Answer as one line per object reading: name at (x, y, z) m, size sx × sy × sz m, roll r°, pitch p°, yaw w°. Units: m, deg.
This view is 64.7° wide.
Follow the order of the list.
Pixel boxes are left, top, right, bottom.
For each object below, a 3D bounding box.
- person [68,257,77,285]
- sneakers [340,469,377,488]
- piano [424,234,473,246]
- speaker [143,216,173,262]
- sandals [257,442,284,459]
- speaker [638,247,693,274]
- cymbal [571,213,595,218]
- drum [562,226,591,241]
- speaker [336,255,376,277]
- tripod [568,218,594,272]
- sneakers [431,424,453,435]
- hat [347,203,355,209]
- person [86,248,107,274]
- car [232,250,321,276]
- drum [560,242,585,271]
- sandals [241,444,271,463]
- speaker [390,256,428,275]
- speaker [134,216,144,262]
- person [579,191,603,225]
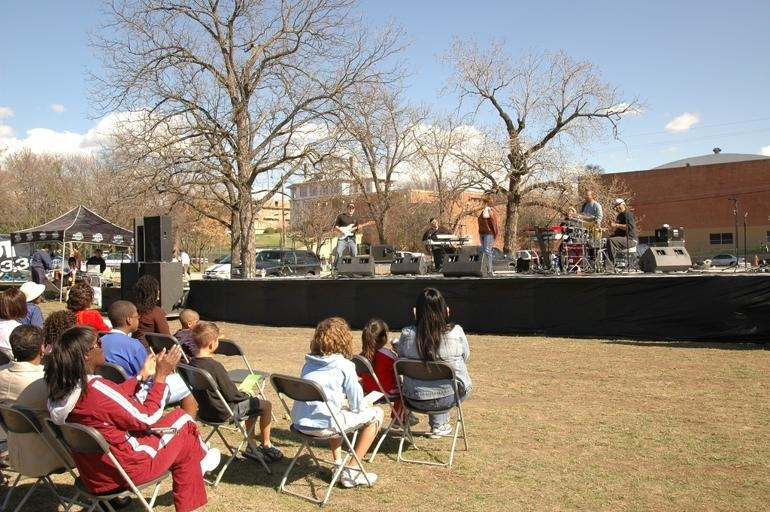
person at (-10.812, 0.471, 20.966) m, size 0.316 × 0.915 × 1.848 m, roll -5°, pitch 7°, yaw -27°
sneakers at (-0.290, 2.206, 6.146) m, size 0.386 × 0.170 × 0.155 m, roll 0°, pitch 0°, yaw -23°
piano at (1.635, -0.417, 15.812) m, size 0.783 × 0.337 × 1.728 m, roll -3°, pitch 6°, yaw -11°
speaker at (-5.649, -0.445, 14.951) m, size 0.695 × 1.103 × 0.422 m, roll -2°, pitch 8°, yaw -7°
sandals at (-1.240, 2.115, 6.648) m, size 0.299 × 0.138 × 0.118 m, roll 26°, pitch 6°, yaw -8°
speaker at (6.015, 0.069, 13.057) m, size 1.140 × 0.576 × 0.481 m, roll -5°, pitch 8°, yaw -27°
cymbal at (4.336, -0.893, 13.451) m, size 0.262 × 0.071 × 0.260 m, roll -1°, pitch 2°, yaw -36°
drum at (4.394, -0.520, 14.017) m, size 0.439 × 0.303 × 0.344 m, roll 1°, pitch -1°, yaw 26°
speaker at (-0.780, 0.242, 15.375) m, size 1.166 × 0.506 × 0.489 m, roll 3°, pitch 8°, yaw 37°
tripod at (4.405, -0.242, 13.933) m, size 0.559 × 1.103 × 0.593 m, roll 2°, pitch 8°, yaw 22°
sneakers at (0.653, 2.013, 7.099) m, size 0.107 × 0.119 × 0.273 m, roll 0°, pitch -1°, yaw 33°
hat at (-0.934, -1.357, 16.212) m, size 0.161 × 0.093 × 0.156 m, roll -4°, pitch -8°, yaw 33°
person at (-10.683, 0.185, 22.336) m, size 0.558 × 0.938 × 1.200 m, roll -5°, pitch 7°, yaw -24°
car at (-4.012, 0.213, 24.716) m, size 2.541 × 1.318 × 1.559 m, roll 6°, pitch -7°, yaw -36°
drum at (4.300, 0.011, 14.161) m, size 0.535 × 0.771 × 0.758 m, roll 2°, pitch -4°, yaw -10°
sandals at (-1.417, 2.114, 6.604) m, size 0.359 × 0.159 × 0.124 m, roll 9°, pitch -9°, yaw 12°
speaker at (0.519, 0.225, 15.058) m, size 0.817 × 0.455 × 0.440 m, roll 1°, pitch 7°, yaw 19°
speaker at (-6.226, -0.441, 15.327) m, size 0.231 × 1.053 × 0.417 m, roll -4°, pitch 8°, yaw -22°
person at (4.602, -1.104, 13.604) m, size 0.441 × 0.748 × 0.746 m, roll 1°, pitch 7°, yaw 17°
